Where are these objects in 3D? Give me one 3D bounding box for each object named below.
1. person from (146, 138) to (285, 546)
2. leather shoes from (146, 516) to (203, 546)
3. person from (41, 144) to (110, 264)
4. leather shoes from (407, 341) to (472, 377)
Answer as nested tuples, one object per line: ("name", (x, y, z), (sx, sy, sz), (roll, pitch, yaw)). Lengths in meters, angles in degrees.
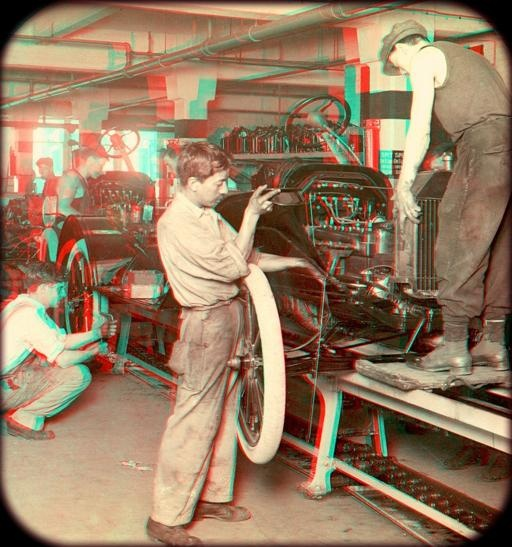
("person", (-0.218, 0.398, 2.081), (0.557, 1.918, 0.684), (3, 16, 17))
("leather shoes", (-0.363, 1.116, 2.072), (0.285, 0.153, 0.090), (-2, -2, 10))
("person", (-2.435, -0.933, 6.169), (0.811, 1.463, 1.218), (-2, 14, -1))
("leather shoes", (0.817, 0.363, 2.007), (0.114, 0.144, 0.237), (3, 2, -39))
